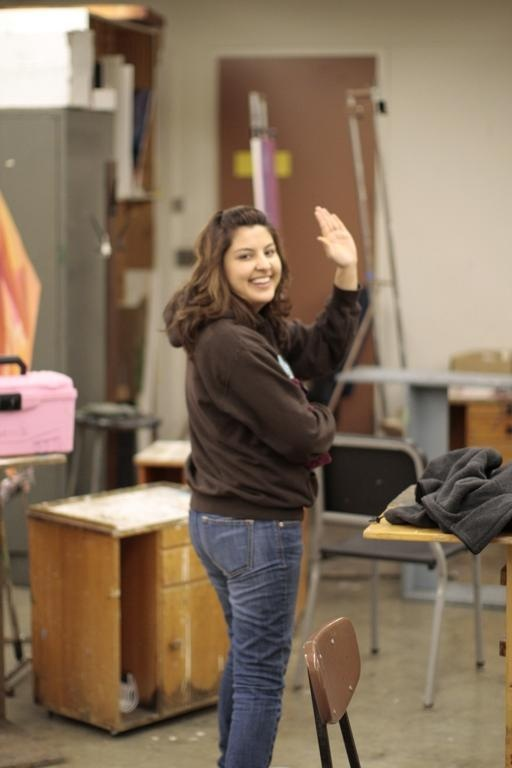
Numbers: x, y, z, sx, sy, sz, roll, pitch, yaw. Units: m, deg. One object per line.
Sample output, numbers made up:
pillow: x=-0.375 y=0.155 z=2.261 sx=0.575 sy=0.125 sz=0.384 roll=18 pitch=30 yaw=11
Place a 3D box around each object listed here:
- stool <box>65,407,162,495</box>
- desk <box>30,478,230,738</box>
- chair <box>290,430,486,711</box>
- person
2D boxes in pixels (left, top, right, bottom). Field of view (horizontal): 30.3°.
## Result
stool: x=-0.519 y=0.225 z=3.257 sx=0.279 sy=0.302 sz=0.276 roll=1 pitch=0 yaw=26
desk: x=-0.330 y=0.656 z=2.831 sx=0.396 sy=0.525 sz=0.576 roll=-3 pitch=-4 yaw=40
chair: x=0.481 y=0.618 z=3.070 sx=0.564 sy=0.919 sz=0.541 roll=2 pitch=-16 yaw=35
person: x=-0.017 y=0.227 z=2.011 sx=0.401 sy=1.216 sz=0.450 roll=5 pitch=8 yaw=4
